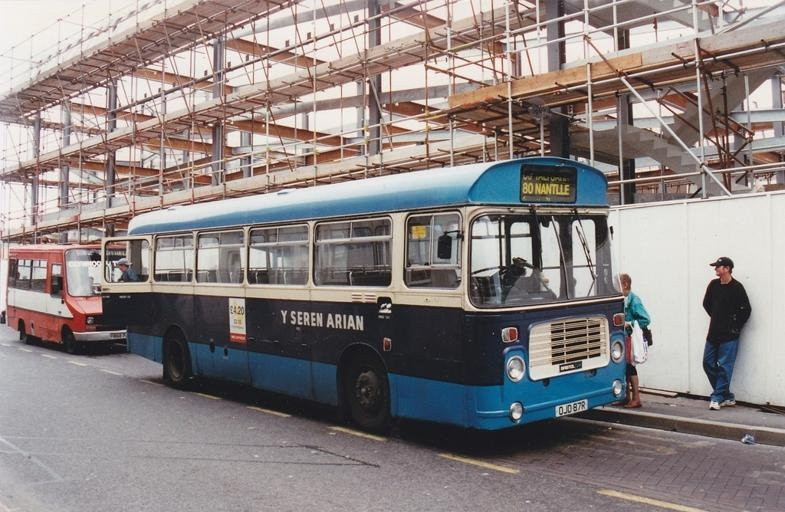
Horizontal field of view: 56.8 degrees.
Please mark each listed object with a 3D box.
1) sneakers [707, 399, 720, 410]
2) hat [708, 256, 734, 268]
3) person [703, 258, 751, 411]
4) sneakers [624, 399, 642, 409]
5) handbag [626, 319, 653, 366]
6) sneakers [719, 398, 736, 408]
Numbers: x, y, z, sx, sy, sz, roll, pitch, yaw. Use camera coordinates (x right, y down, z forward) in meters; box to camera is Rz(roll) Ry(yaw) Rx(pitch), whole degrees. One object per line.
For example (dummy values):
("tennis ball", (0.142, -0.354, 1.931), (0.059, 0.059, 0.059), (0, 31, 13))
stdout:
("sneakers", (6.666, 3.063, 15.126), (0.247, 0.176, 0.347), (3, 10, 24))
("hat", (6.850, 0.121, 15.274), (0.409, 0.214, 0.261), (-3, -1, 36))
("person", (6.884, 1.532, 15.159), (0.823, 2.976, 0.676), (2, 10, 20))
("sneakers", (5.024, 3.107, 15.305), (0.413, 0.150, 0.146), (6, -12, -27))
("handbag", (5.095, 1.751, 15.176), (0.546, 1.213, 1.063), (-5, -6, 28))
("sneakers", (7.003, 3.066, 15.260), (0.380, 0.175, 0.138), (-16, -12, 38))
